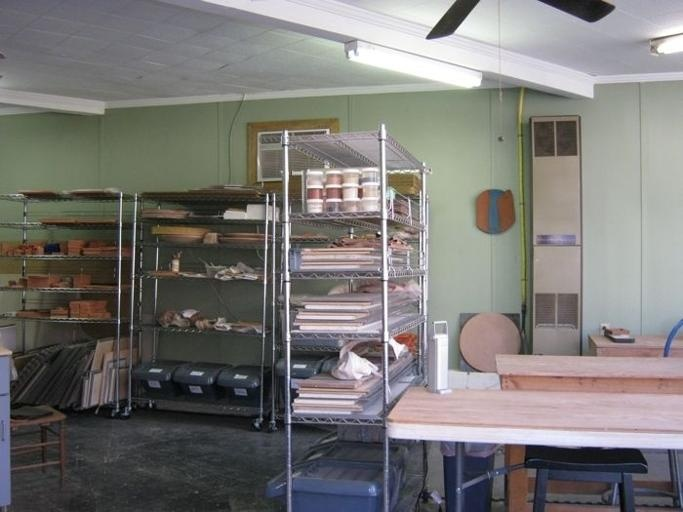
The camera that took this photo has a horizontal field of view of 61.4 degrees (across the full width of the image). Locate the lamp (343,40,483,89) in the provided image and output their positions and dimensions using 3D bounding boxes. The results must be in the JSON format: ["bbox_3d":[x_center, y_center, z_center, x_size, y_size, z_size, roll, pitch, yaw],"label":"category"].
[{"bbox_3d":[0.724,-1.846,5.495,1.403,0.291,0.164,-1,5,-21],"label":"lamp"}]

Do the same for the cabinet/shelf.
[{"bbox_3d":[-1.214,0.625,5.746,5.001,3.047,2.470,-1,-7,15],"label":"cabinet/shelf"}]

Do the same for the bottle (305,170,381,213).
[{"bbox_3d":[0.044,-0.457,4.136,0.717,0.269,0.378,0,4,10],"label":"bottle"}]
